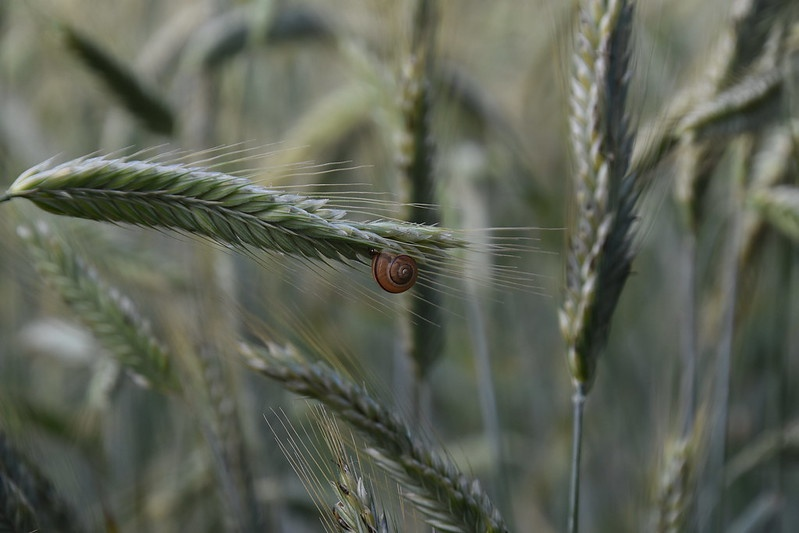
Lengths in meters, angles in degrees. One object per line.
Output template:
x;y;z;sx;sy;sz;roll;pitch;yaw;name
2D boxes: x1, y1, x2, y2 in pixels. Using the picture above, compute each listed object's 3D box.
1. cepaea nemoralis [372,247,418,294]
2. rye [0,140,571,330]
-0.010;0.010;3.036;0.091;0.104;0.059;7;2;-16;cepaea nemoralis
-0.322;-0.100;3.303;0.979;0.180;0.192;16;38;-11;rye
